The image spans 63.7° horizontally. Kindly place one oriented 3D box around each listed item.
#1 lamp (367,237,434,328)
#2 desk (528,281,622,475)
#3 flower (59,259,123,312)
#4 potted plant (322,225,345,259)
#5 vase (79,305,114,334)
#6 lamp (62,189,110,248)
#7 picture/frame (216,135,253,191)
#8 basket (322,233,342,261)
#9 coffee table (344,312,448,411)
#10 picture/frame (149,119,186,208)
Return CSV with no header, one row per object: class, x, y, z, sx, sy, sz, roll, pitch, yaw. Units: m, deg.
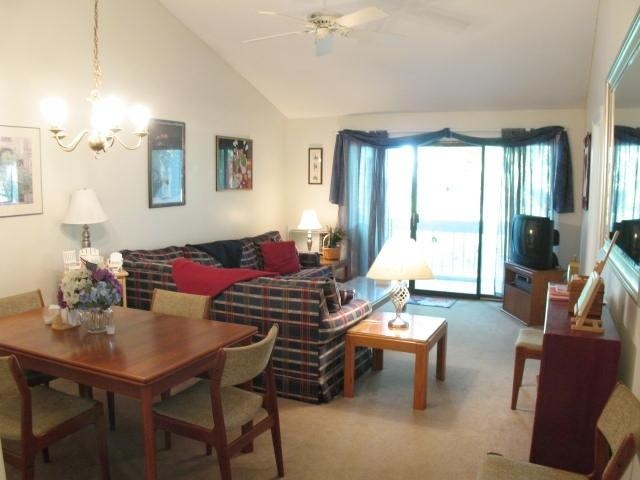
lamp,0.622,0.345,4.658,0.698,0.883,0.695,-2,3,-41
desk,1.618,0.882,3.235,0.321,0.737,1.144,3,8,26
flower,-1.542,0.296,3.416,0.349,0.364,0.327,0,-4,8
potted plant,0.191,0.050,8.025,0.425,0.680,0.412,1,3,7
vase,-1.490,0.517,3.418,0.183,0.183,0.188,2,-6,-9
lamp,-2.334,-0.194,5.070,0.363,0.583,0.375,-11,15,-43
picture/frame,-1.214,-1.070,7.158,0.028,0.640,0.775,6,9,23
basket,0.183,0.107,8.080,0.352,0.527,0.362,1,0,32
coffee table,0.727,0.967,4.638,0.731,0.635,0.785,2,3,27
picture/frame,-1.815,-0.902,6.104,0.094,1.012,0.628,5,12,24
